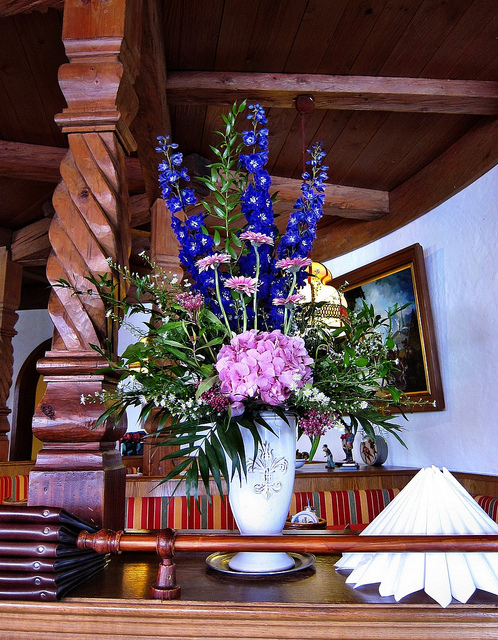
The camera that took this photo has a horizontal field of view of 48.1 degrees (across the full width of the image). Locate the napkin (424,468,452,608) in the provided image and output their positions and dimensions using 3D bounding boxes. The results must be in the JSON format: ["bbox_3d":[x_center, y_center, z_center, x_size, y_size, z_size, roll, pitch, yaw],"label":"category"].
[{"bbox_3d":[0.249,0.290,0.767,0.033,0.153,0.139,-10,-14,15],"label":"napkin"}]

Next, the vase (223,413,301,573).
[{"bbox_3d":[0.026,0.288,0.953,0.152,0.251,0.266,-6,-13,1],"label":"vase"}]
